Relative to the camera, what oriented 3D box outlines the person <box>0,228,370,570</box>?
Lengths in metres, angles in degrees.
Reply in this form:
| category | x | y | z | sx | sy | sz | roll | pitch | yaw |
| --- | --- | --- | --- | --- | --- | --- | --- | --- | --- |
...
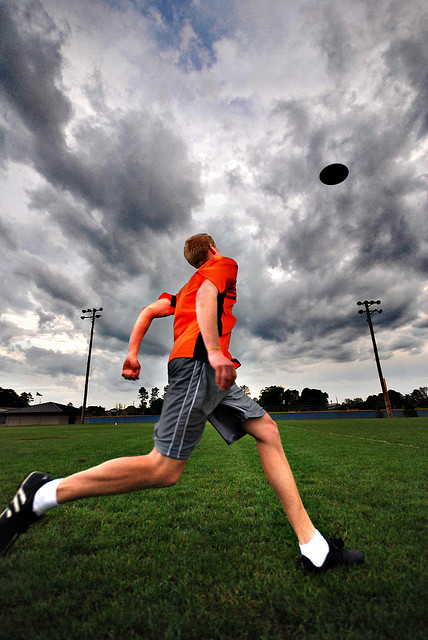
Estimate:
| category | x | y | z | sx | sy | sz | roll | pitch | yaw |
| --- | --- | --- | --- | --- | --- | --- | --- | --- | --- |
| person | -0.133 | 0.336 | 2.045 | 1.662 | 1.805 | 0.779 | -5 | -16 | 17 |
